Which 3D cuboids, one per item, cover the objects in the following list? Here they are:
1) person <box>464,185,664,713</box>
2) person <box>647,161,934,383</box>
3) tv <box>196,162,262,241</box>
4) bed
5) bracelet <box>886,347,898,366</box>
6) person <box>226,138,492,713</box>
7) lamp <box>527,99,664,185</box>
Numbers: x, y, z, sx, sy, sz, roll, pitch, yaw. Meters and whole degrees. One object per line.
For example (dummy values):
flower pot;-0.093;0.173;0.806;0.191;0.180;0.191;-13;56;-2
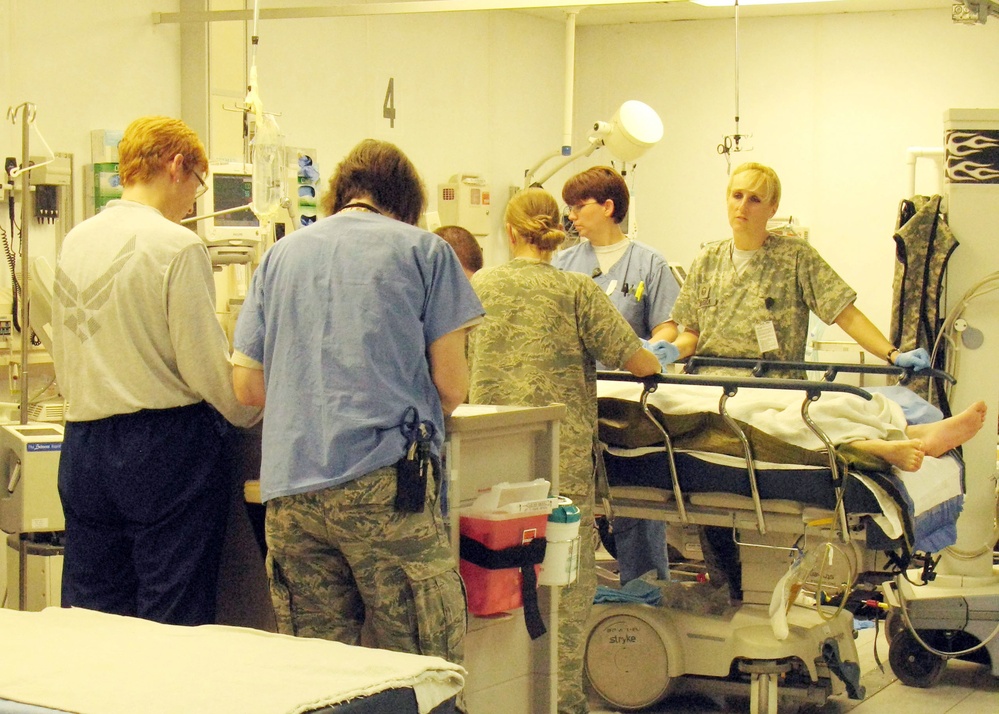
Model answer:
person;0.216;0.303;3.258;0.619;1.690;0.302;-1;5;-1
person;1.034;-0.299;4.080;1.492;0.908;0.348;2;7;42
tv;-1.402;-0.798;5.131;0.328;0.410;0.281;-4;11;-24
bed;1.027;0.613;3.897;1.388;1.112;1.193;0;0;23
bracelet;1.467;-0.009;3.750;0.020;0.053;0.048;-3;25;11
person;-0.386;0.283;2.777;0.709;1.678;0.595;3;9;12
lamp;0.593;-1.188;5.860;0.319;0.460;0.958;-6;-5;-22
